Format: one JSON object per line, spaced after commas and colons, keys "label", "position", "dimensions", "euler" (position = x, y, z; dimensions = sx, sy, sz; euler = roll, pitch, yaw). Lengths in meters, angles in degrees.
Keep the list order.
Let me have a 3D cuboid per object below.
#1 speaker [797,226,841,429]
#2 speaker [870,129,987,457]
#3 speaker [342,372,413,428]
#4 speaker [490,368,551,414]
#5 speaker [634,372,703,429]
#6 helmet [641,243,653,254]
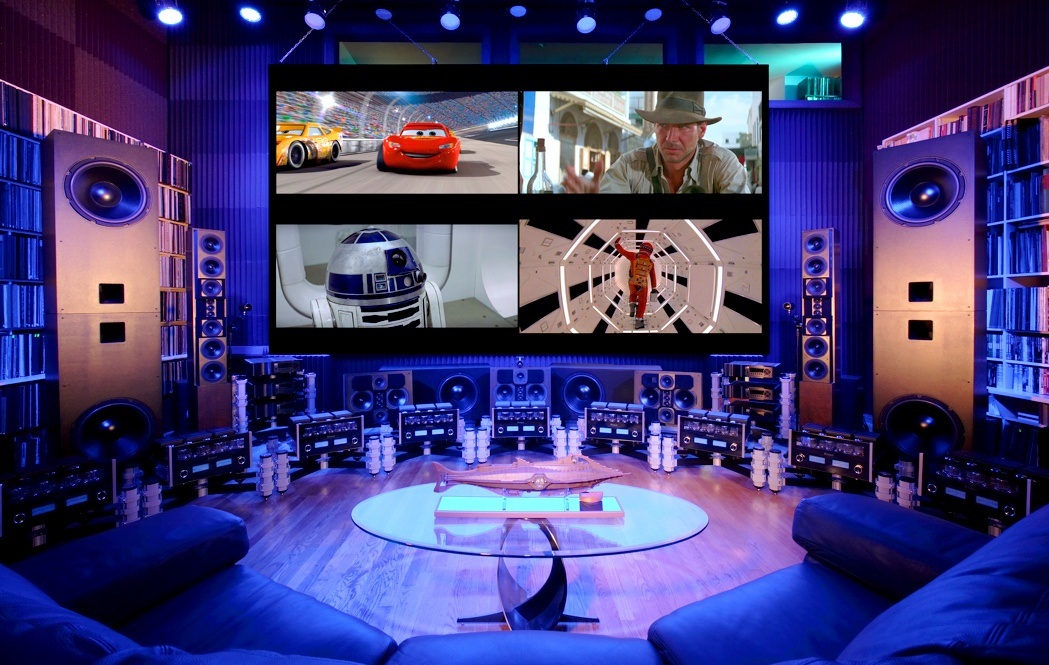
{"label": "speaker", "position": [2.963, -0.043, 6.904], "dimensions": [0.356, 1.938, 0.206], "euler": [0, 3, 25]}
{"label": "speaker", "position": [3.575, -0.355, 6.083], "dimensions": [0.832, 2.727, 0.390], "euler": [0, 3, 31]}
{"label": "speaker", "position": [-1.540, 0.716, 7.182], "dimensions": [0.571, 0.502, 0.196], "euler": [-1, 1, -21]}
{"label": "speaker", "position": [-0.047, 0.556, 7.400], "dimensions": [0.676, 0.481, 0.381], "euler": [0, 2, 2]}
{"label": "speaker", "position": [1.516, 0.712, 7.146], "dimensions": [0.565, 0.508, 0.203], "euler": [0, 0, 6]}
{"label": "helmet", "position": [1.228, -0.836, 6.873], "dimensions": [0.106, 0.110, 0.107], "euler": [3, -2, -10]}
